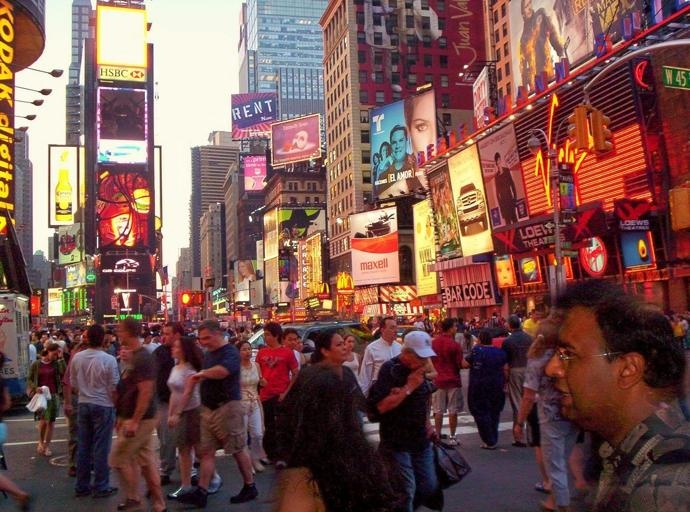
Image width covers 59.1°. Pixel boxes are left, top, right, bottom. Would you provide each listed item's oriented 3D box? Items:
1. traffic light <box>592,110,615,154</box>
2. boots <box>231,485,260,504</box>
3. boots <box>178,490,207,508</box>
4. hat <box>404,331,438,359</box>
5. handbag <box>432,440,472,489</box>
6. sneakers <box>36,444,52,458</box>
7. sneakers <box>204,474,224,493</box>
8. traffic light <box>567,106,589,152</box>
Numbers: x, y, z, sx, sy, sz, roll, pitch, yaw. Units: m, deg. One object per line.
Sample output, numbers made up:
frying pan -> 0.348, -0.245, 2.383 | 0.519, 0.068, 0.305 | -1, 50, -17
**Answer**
traffic light -> 5.699, -2.796, 13.557 | 0.393, 1.001, 0.772 | -6, -8, 23
boots -> -1.327, 3.205, 8.233 | 0.413, 0.279, 0.155 | -4, -4, 6
boots -> -2.000, 3.162, 8.012 | 0.336, 0.275, 0.373 | -3, -7, -6
hat -> 0.751, 0.905, 6.275 | 0.300, 0.293, 0.379 | -4, -7, 6
handbag -> 1.080, 2.100, 6.224 | 0.341, 0.493, 0.334 | -4, -7, 8
sneakers -> -5.908, 3.791, 11.912 | 0.163, 0.166, 0.457 | 5, -14, -15
sneakers -> -1.906, 3.280, 8.882 | 0.149, 0.217, 0.557 | -3, -7, -6
traffic light -> 5.213, -2.895, 13.583 | 0.432, 1.090, 0.647 | -6, -8, 21
